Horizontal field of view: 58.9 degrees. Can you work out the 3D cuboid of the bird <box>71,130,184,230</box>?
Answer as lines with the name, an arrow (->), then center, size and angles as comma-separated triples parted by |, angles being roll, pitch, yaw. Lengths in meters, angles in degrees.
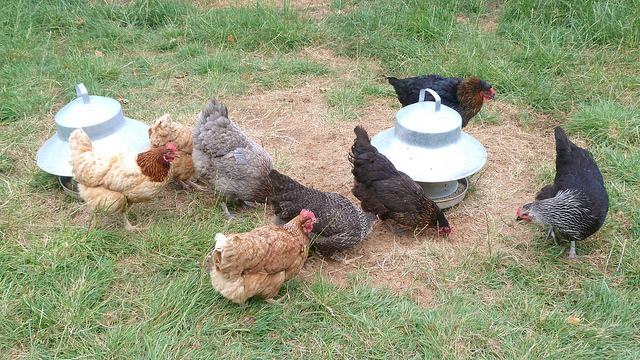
bird -> -2.763, -0.013, 8.128 | 1.732, 1.159, 0.786 | 9, 22, 6

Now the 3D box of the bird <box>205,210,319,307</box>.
bird -> -0.872, 0.981, 7.572 | 1.545, 1.275, 0.933 | 1, 19, -38

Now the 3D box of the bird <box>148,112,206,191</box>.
bird -> -2.076, -0.365, 8.218 | 0.995, 0.747, 0.592 | 47, 50, 14

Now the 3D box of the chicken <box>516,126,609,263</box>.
chicken -> 3.551, 0.143, 7.954 | 0.990, 0.886, 1.125 | 22, 47, 20
